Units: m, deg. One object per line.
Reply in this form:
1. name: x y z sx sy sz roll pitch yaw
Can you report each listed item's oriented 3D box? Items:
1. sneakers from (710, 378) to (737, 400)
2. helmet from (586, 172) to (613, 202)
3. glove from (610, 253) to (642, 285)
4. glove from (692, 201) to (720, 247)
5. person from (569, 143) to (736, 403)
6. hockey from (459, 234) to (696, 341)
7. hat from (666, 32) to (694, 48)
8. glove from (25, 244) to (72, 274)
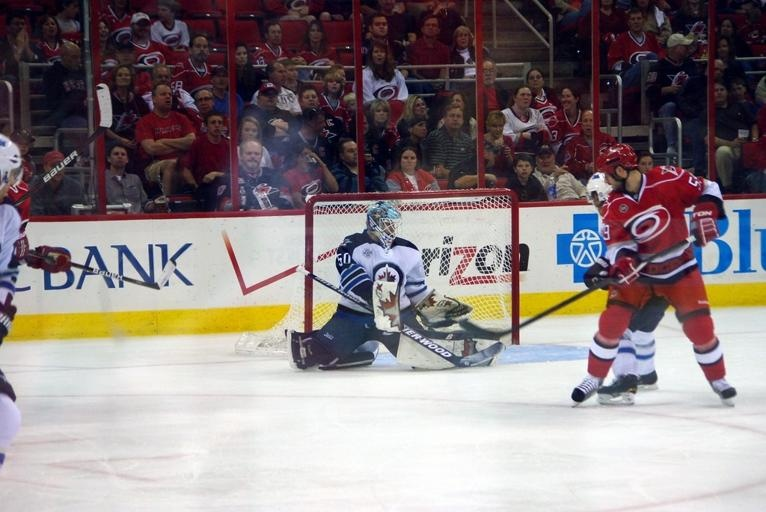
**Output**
1. sneakers: 2.512 0.977 7.568 0.119 0.076 0.206 -33 45 -1
2. helmet: 1.627 -0.528 7.824 0.235 0.184 0.164 1 11 -17
3. glove: 1.777 0.100 7.505 0.171 0.229 0.083 32 -4 0
4. glove: 2.403 -0.234 7.617 0.200 0.330 0.150 1 13 12
5. person: 2.060 0.145 7.625 1.128 1.890 0.752 1 13 11
6. hockey: 1.639 0.288 9.009 1.627 0.175 0.363 -26 -9 -1
7. hat: 3.159 -2.291 10.982 0.230 0.110 0.146 -4 16 15
8. glove: -2.527 0.032 7.766 0.309 0.169 0.125 8 14 -17
